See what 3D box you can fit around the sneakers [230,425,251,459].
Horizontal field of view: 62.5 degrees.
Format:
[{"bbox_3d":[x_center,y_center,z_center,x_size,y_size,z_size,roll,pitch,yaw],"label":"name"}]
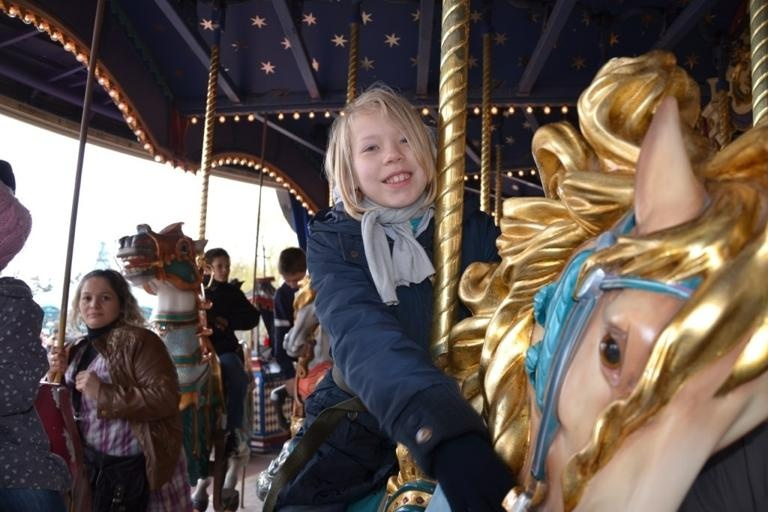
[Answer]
[{"bbox_3d":[-1.254,1.595,5.437,0.192,0.263,0.101,0,-5,3],"label":"sneakers"}]
